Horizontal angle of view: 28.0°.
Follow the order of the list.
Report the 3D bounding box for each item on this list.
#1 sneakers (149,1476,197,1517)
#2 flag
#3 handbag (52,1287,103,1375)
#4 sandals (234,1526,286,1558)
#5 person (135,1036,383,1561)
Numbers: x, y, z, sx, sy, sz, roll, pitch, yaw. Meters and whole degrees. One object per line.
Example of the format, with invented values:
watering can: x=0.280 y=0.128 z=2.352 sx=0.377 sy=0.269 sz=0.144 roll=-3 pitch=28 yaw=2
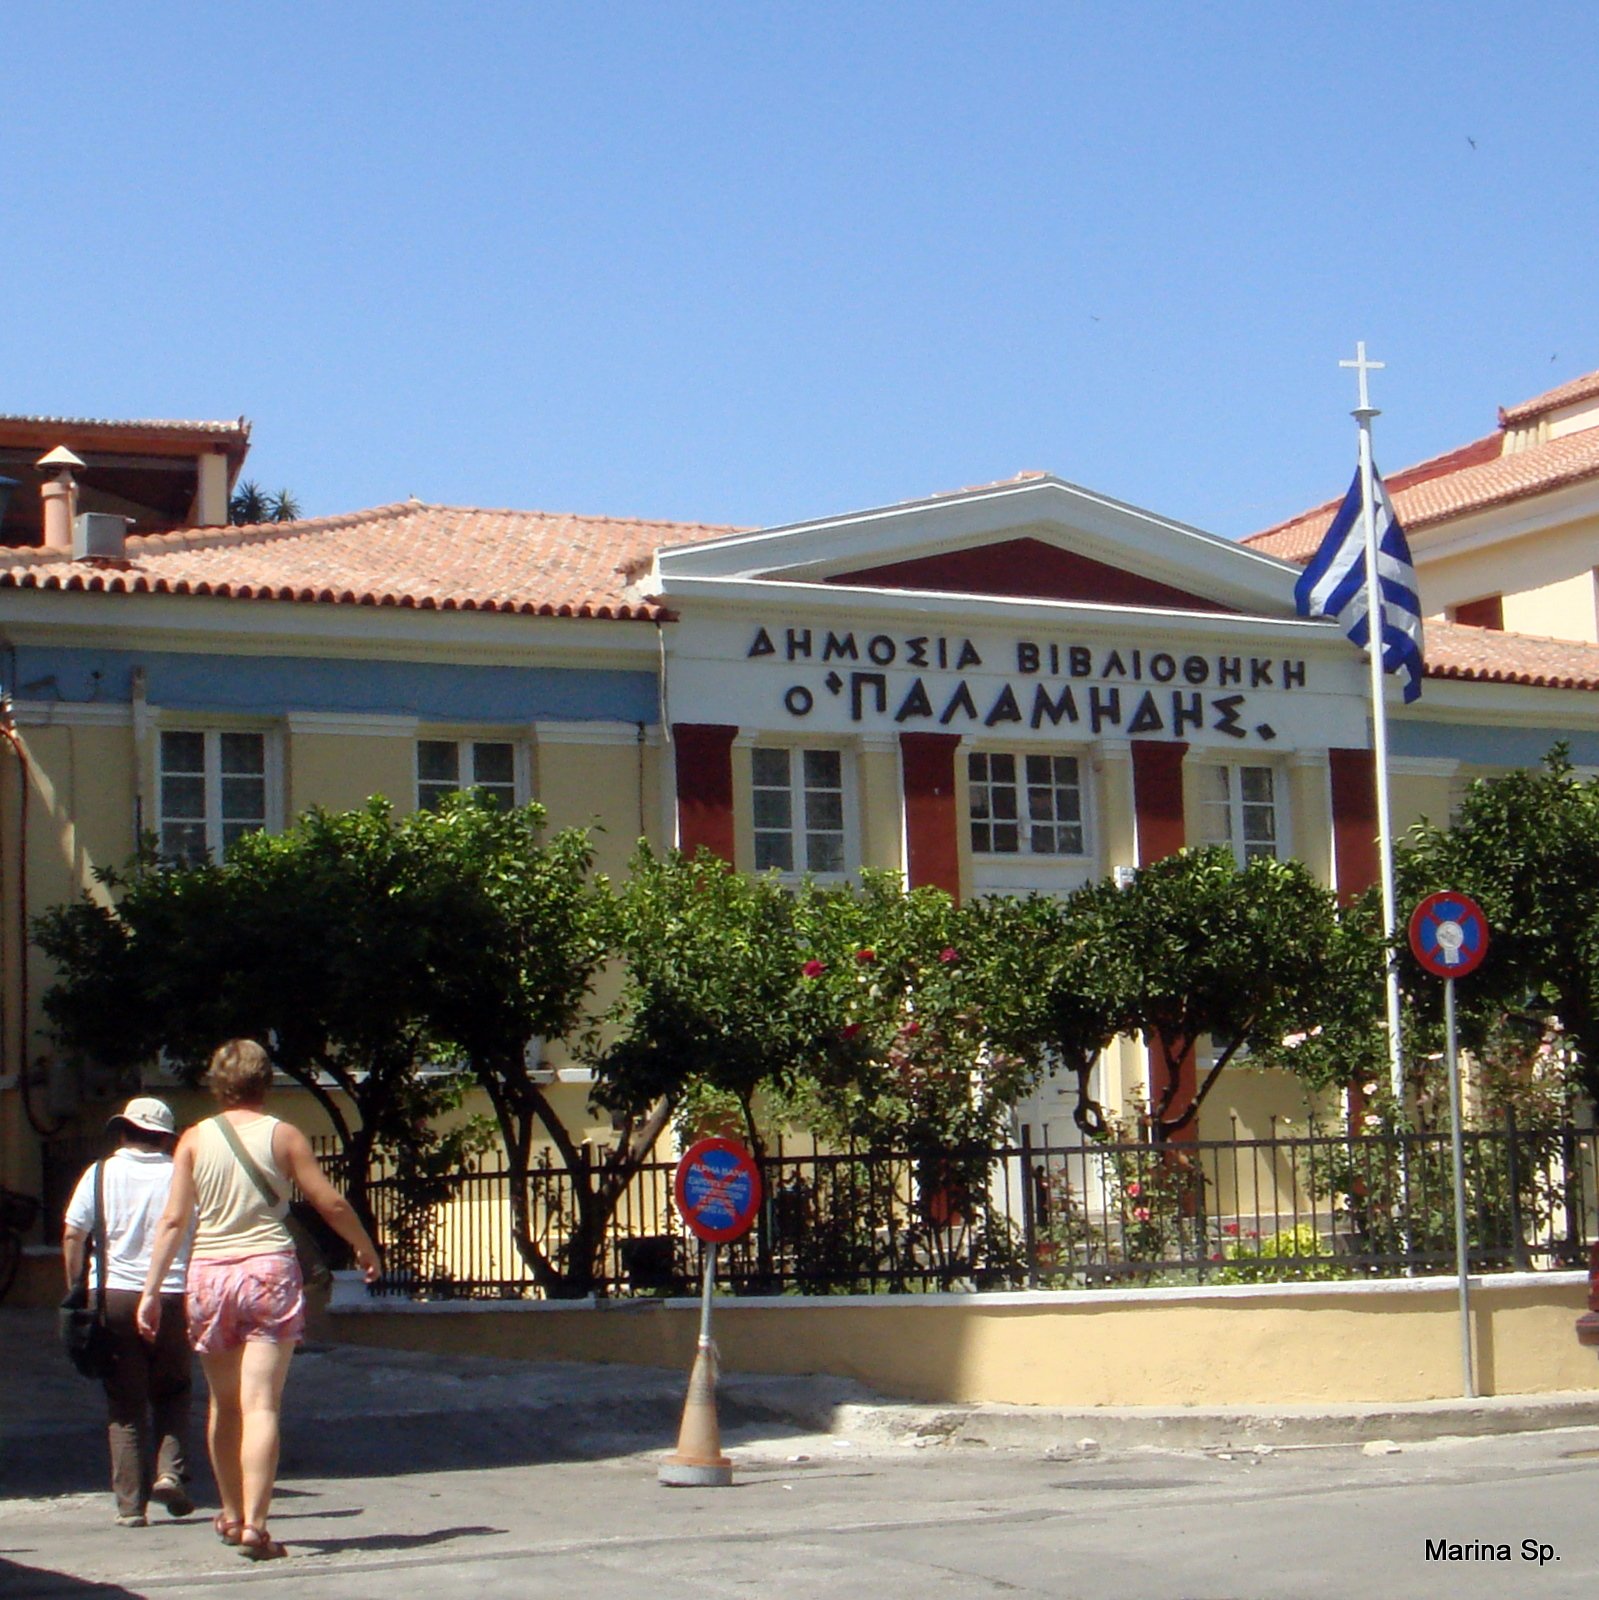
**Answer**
sneakers: x=-2.891 y=3.195 z=14.791 sx=0.089 sy=0.113 sz=0.248 roll=-19 pitch=-48 yaw=2
flag: x=4.716 y=-1.898 z=26.810 sx=1.027 sy=2.587 sz=0.202 roll=7 pitch=-34 yaw=5
handbag: x=-3.267 y=2.418 z=14.633 sx=0.197 sy=0.378 sz=0.255 roll=1 pitch=-8 yaw=-13
sandals: x=-2.279 y=3.138 z=13.647 sx=0.087 sy=0.160 sz=0.242 roll=2 pitch=2 yaw=34
person: x=-2.378 y=2.127 z=13.824 sx=1.057 sy=2.208 sz=0.442 roll=-4 pitch=-8 yaw=28
